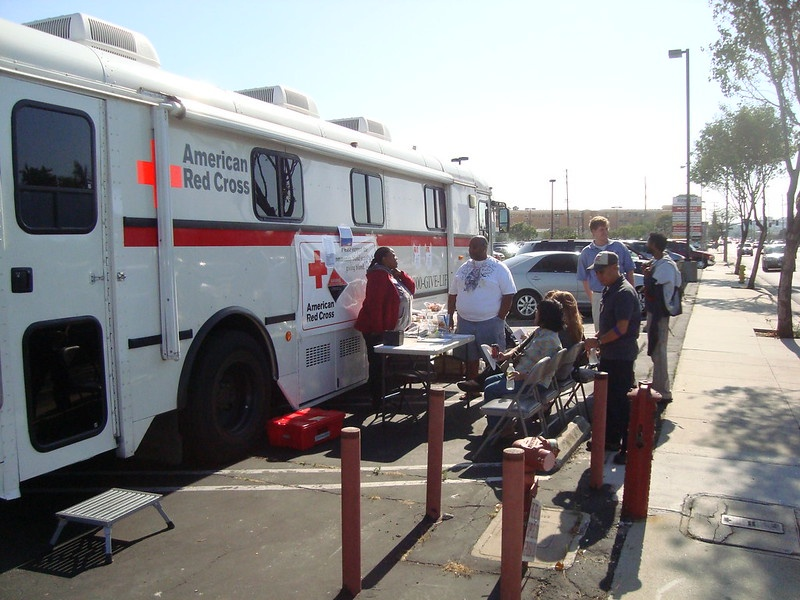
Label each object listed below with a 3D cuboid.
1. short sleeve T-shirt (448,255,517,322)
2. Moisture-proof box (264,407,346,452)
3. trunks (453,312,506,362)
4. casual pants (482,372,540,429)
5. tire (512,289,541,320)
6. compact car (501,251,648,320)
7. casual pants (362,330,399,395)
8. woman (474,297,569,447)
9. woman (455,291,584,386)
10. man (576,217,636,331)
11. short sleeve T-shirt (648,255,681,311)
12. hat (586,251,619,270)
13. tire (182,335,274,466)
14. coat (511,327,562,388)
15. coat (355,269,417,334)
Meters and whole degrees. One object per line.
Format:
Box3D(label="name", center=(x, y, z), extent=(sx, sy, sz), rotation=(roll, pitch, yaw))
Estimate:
Box3D(label="short sleeve T-shirt", center=(1.148, -0.154, 8.841), extent=(1.010, 1.037, 0.580), rotation=(-2, -11, 29))
Box3D(label="Moisture-proof box", center=(-1.066, 1.474, 7.132), extent=(0.482, 0.316, 0.743), rotation=(2, 2, 30))
Box3D(label="trunks", center=(1.122, 0.491, 8.844), extent=(0.712, 0.784, 0.454), rotation=(-5, -2, 15))
Box3D(label="casual pants", center=(1.275, 1.147, 6.985), extent=(0.574, 0.783, 0.528), rotation=(-1, 1, 15))
Box3D(label="tire", center=(2.921, 0.049, 14.073), extent=(0.544, 0.642, 0.195), rotation=(-10, 6, 5))
Box3D(label="compact car", center=(4.365, -0.349, 15.561), extent=(3.374, 1.539, 1.654), rotation=(-4, 4, -4))
Box3D(label="casual pants", center=(-0.267, 0.797, 8.211), extent=(0.433, 0.614, 0.872), rotation=(3, 6, 24))
Box3D(label="woman", center=(1.376, 0.889, 7.099), extent=(0.824, 1.864, 0.625), rotation=(8, 5, 20))
Box3D(label="woman", center=(1.357, 0.614, 7.911), extent=(2.016, 1.302, 0.894), rotation=(-5, 0, 20))
Box3D(label="man", center=(3.049, -0.225, 9.088), extent=(0.814, 2.215, 0.608), rotation=(-3, 35, 20))
Box3D(label="short sleeve T-shirt", center=(3.423, -0.185, 7.900), extent=(0.427, 0.760, 0.409), rotation=(0, 7, 12))
Box3D(label="hat", center=(2.216, -0.444, 6.653), extent=(0.363, 0.234, 0.251), rotation=(-3, 4, 4))
Box3D(label="tire", center=(-1.861, 1.042, 6.458), extent=(0.376, 1.269, 1.167), rotation=(1, -7, 17))
Box3D(label="coat", center=(1.537, 0.655, 6.803), extent=(0.302, 0.557, 0.530), rotation=(25, 3, 21))
Box3D(label="coat", center=(-0.225, -0.021, 8.415), extent=(0.617, 0.951, 0.774), rotation=(-12, -14, 42))
